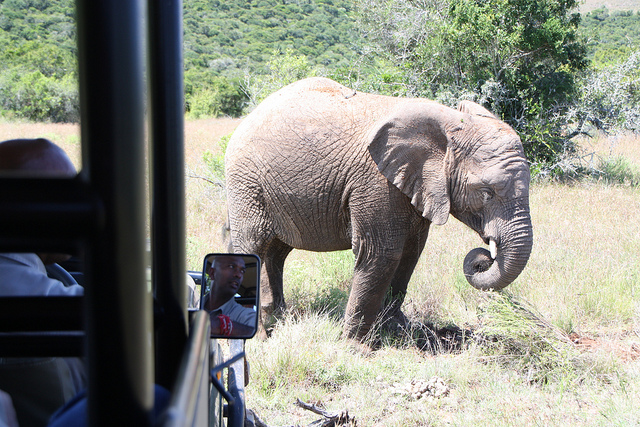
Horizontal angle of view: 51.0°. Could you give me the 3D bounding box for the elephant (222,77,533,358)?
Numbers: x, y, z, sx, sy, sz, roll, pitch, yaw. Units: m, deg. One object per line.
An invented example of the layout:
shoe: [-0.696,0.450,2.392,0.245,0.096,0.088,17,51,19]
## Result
elephant: [0.526,0.097,8.028,3.521,3.346,2.268,3,11,21]
